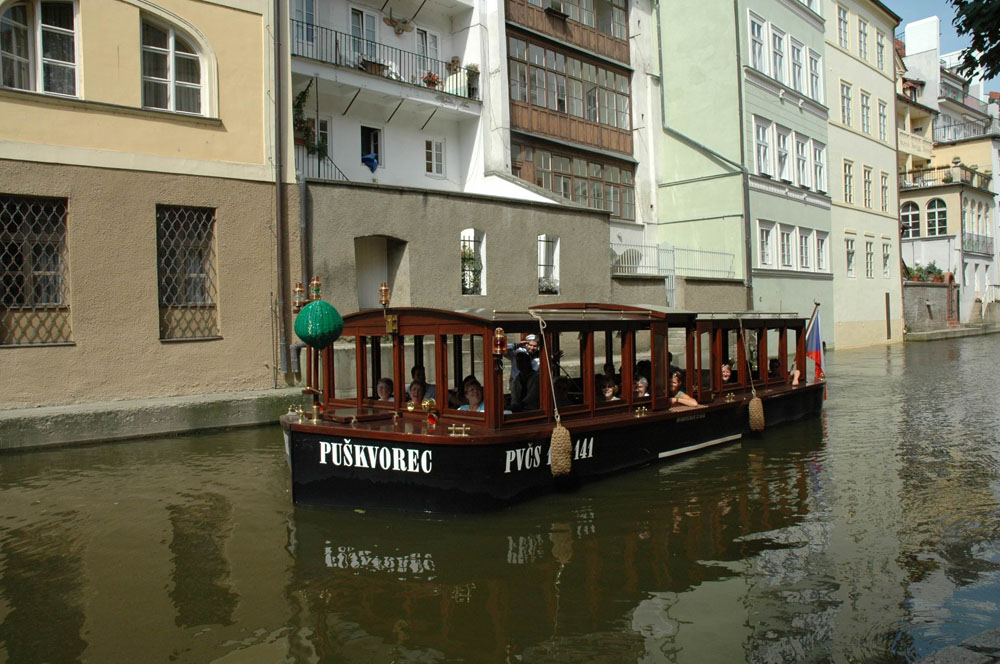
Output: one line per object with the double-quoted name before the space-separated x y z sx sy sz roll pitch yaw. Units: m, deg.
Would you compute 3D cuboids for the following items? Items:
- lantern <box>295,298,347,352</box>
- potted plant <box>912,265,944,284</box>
"lantern" -3.062 -0.120 17.013 0.774 0.989 0.787 12 20 38
"potted plant" 23.491 -3.212 54.370 1.504 0.801 1.580 -2 4 -17
